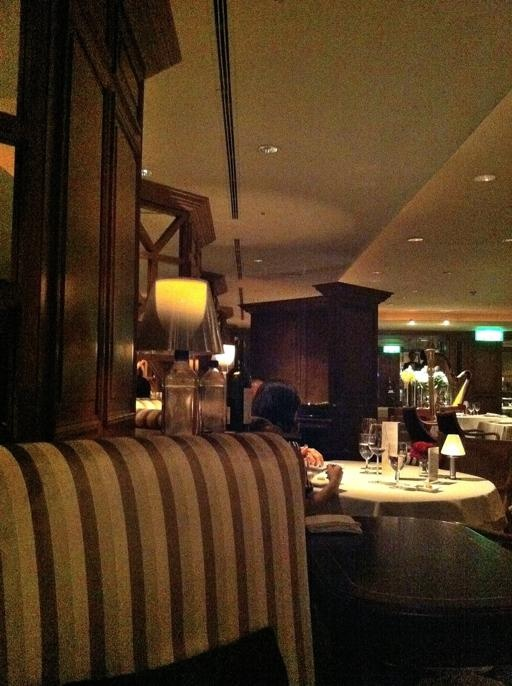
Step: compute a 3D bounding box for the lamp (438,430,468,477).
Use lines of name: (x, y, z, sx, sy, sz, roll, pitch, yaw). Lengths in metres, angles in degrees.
lamp: (0.995, 0.571, 2.708, 0.120, 0.236, 0.124, -4, 6, -37)

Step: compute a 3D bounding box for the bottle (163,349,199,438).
bottle: (-0.197, 0.137, 1.467, 0.105, 0.227, 0.212, 5, -3, -30)
